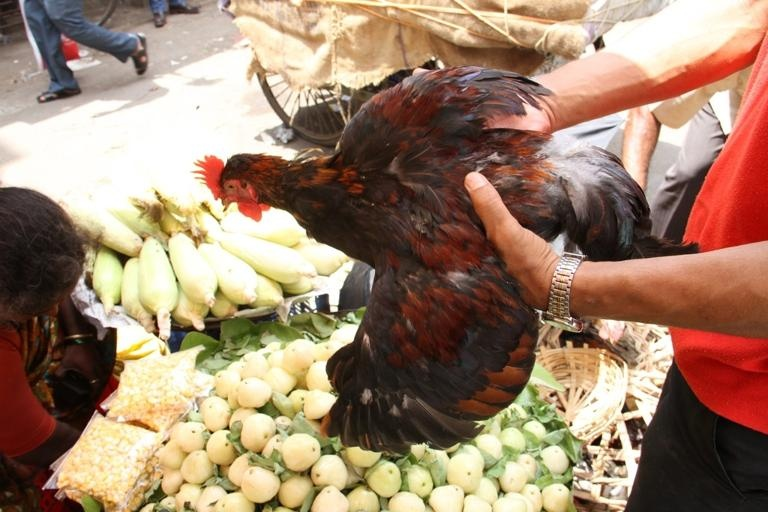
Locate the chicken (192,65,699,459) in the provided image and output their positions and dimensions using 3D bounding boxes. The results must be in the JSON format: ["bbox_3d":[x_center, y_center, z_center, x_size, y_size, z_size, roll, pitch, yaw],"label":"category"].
[{"bbox_3d":[0.215,-0.009,1.905,1.360,1.229,1.092,9,40,13],"label":"chicken"}]

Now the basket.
[{"bbox_3d":[1.010,0.663,2.691,0.557,0.310,0.378,-6,75,1],"label":"basket"}]

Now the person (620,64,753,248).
[{"bbox_3d":[1.669,-0.624,3.065,0.806,0.514,1.113,-5,58,14],"label":"person"}]
